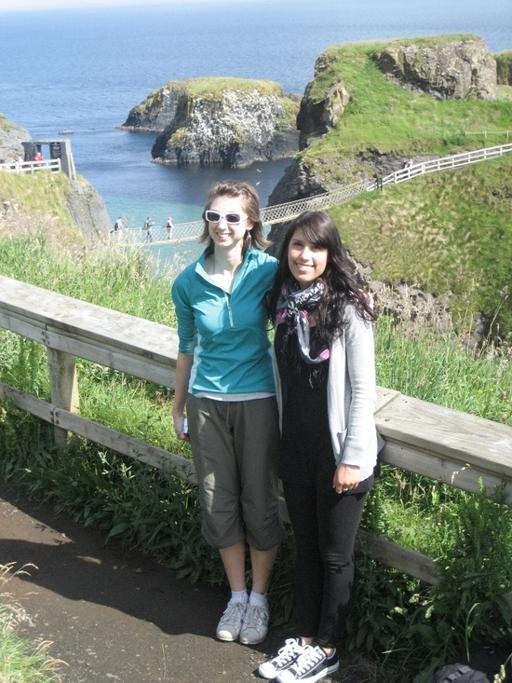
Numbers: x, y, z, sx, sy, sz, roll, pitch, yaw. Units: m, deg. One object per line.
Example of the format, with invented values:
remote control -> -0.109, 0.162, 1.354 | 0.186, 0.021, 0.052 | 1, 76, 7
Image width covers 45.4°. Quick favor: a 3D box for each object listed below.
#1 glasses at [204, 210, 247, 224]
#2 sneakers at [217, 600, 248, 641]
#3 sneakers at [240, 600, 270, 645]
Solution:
glasses -> -0.132, -0.499, 2.453 | 0.166, 0.059, 0.068 | 2, 13, 12
sneakers -> -0.096, 1.154, 2.592 | 0.072, 0.071, 0.190 | 9, 25, 13
sneakers -> -0.011, 1.158, 2.526 | 0.068, 0.073, 0.191 | 6, 25, 3
